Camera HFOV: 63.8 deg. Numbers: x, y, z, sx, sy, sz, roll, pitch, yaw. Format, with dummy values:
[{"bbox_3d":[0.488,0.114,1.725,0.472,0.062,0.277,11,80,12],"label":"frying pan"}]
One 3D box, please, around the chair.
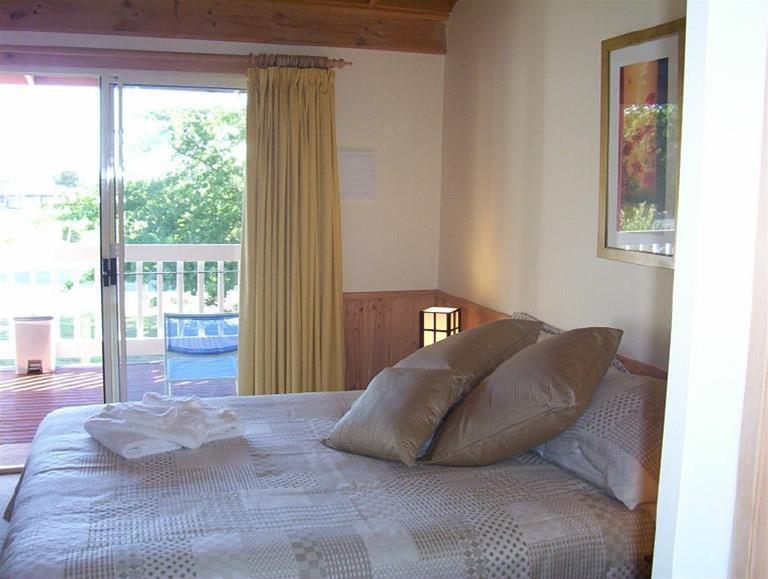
[{"bbox_3d":[-1.251,0.437,4.478,0.625,0.597,0.620,0,8,-14],"label":"chair"}]
